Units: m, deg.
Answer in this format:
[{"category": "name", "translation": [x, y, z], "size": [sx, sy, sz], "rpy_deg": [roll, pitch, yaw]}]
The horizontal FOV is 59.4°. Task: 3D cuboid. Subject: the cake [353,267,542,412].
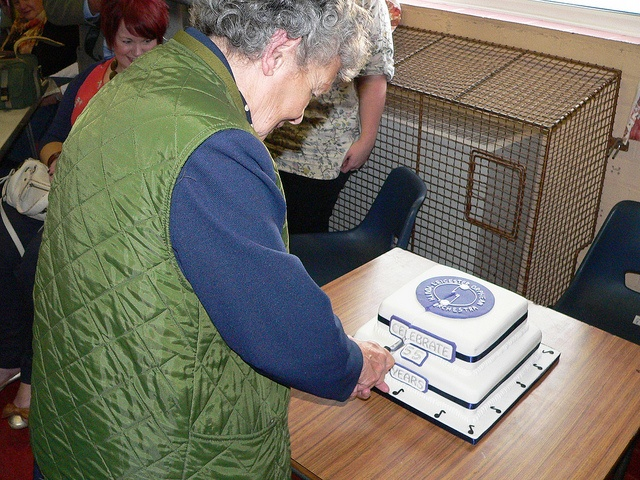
[{"category": "cake", "translation": [0.373, 0.164, 1.439], "size": [0.324, 0.190, 0.329], "rpy_deg": [22, 39, 35]}]
